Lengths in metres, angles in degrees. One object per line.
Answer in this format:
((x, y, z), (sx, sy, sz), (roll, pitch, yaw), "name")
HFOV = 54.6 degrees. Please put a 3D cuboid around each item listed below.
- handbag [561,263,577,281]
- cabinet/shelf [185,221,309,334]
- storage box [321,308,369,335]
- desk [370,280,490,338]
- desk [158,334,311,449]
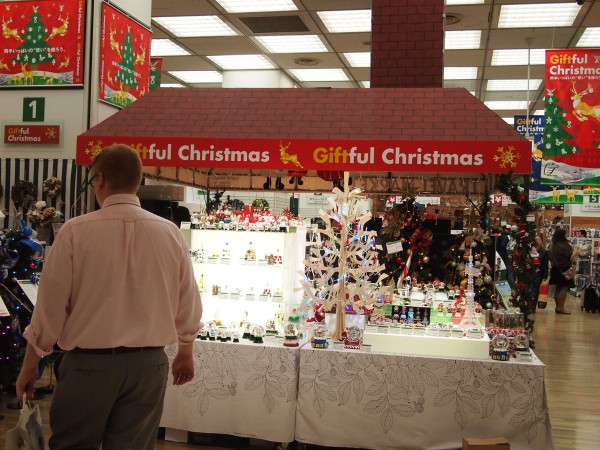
((5.574, 1.010, 12.176), (0.298, 0.256, 0.232), (3, 2, 38), "handbag")
((-0.557, 0.566, 6.071), (1.141, 1.048, 0.374), (0, 0, 11), "cabinet/shelf")
((0.428, 0.946, 5.865), (0.279, 0.173, 0.291), (-1, -2, 42), "storage box")
((1.329, 0.833, 6.106), (1.136, 0.464, 1.685), (0, -3, 13), "desk")
((-0.600, 1.518, 5.380), (1.047, 0.631, 1.029), (2, -15, 8), "desk")
